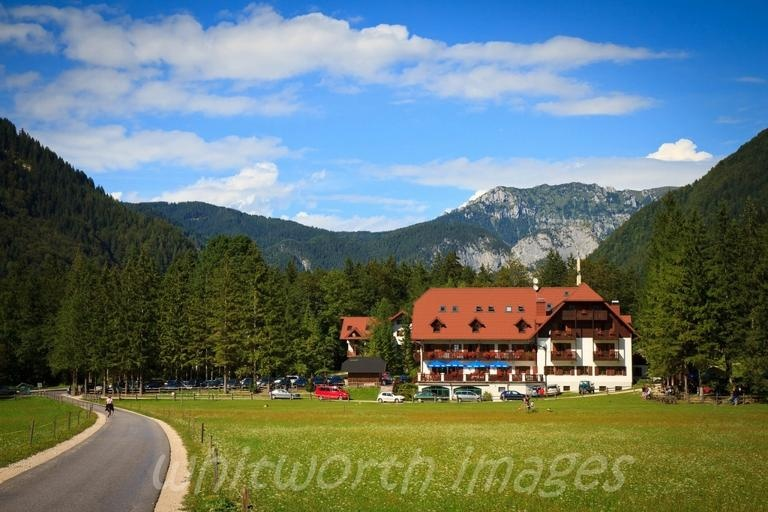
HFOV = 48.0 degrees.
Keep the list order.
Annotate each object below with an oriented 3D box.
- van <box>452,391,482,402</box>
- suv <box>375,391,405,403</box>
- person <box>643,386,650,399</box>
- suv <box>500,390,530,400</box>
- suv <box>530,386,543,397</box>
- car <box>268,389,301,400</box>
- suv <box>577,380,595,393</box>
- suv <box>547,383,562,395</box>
[{"bbox_3d":[15.366,25.818,159.197,4.940,1.865,2.006,-2,-11,6],"label":"van"},{"bbox_3d":[1.135,26.036,158.257,3.609,1.528,2.071,-4,-8,12],"label":"suv"},{"bbox_3d":[45.571,23.824,149.915,0.991,1.386,2.347,2,-6,12],"label":"person"},{"bbox_3d":[23.681,25.962,160.205,5.052,1.865,2.303,-2,-4,4],"label":"suv"},{"bbox_3d":[28.763,25.607,162.575,1.428,1.326,2.359,2,3,12],"label":"suv"},{"bbox_3d":[-18.777,26.285,162.921,4.780,1.582,2.297,-1,-6,3],"label":"car"},{"bbox_3d":[38.215,24.920,163.382,1.819,1.759,2.942,0,-1,22],"label":"suv"},{"bbox_3d":[31.745,25.264,162.011,2.607,1.391,1.639,4,-9,-12],"label":"suv"}]
